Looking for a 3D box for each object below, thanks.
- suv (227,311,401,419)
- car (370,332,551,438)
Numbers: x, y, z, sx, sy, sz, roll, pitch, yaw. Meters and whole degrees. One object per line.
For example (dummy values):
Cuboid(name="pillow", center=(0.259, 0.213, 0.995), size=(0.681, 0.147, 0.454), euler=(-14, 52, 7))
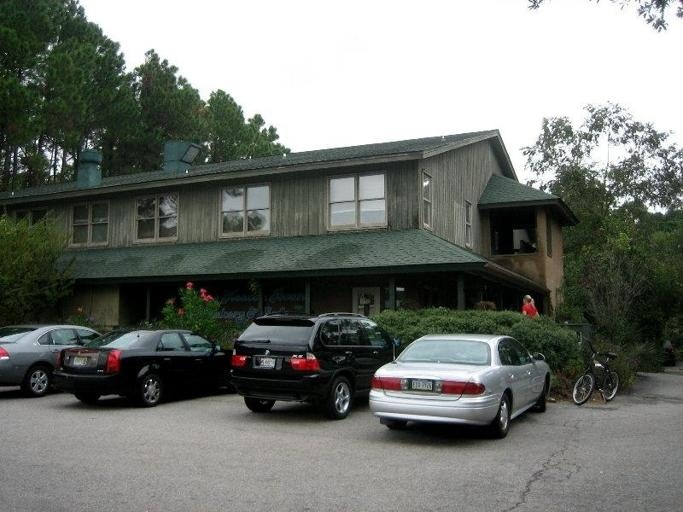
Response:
Cuboid(name="suv", center=(-0.361, 2.079, 12.074), size=(1.722, 1.599, 3.296), euler=(-3, -2, 29))
Cuboid(name="car", center=(2.385, 2.380, 10.368), size=(3.655, 1.769, 1.782), euler=(6, -7, -43))
